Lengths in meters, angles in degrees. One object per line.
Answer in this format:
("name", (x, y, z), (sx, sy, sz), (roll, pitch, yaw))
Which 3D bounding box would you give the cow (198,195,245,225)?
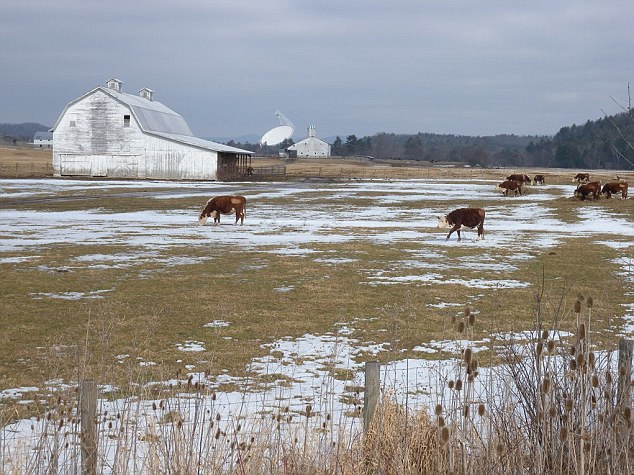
("cow", (-3.636, -1.077, 39.576), (1.616, 1.111, 1.882), (1, 2, -1))

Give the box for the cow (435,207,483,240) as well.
("cow", (4.868, -0.497, 35.101), (1.444, 1.079, 2.847), (1, 2, 9))
